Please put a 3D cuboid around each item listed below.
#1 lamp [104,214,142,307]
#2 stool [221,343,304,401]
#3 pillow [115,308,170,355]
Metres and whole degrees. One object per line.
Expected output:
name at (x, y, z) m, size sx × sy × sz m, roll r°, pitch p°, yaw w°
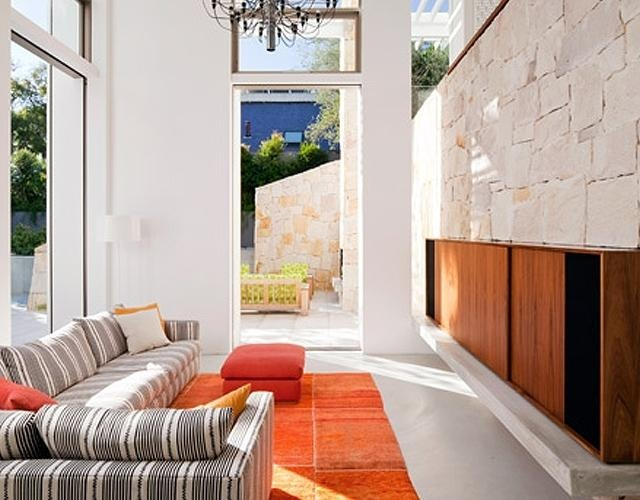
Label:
lamp at (-2.415, 0.152, 6.454) m, size 0.452 × 1.195 × 0.616 m, roll -2°, pitch 7°, yaw -21°
stool at (-0.536, 1.130, 5.071) m, size 0.464 × 0.331 × 0.647 m, roll 0°, pitch -1°, yaw 0°
pillow at (-1.801, 0.751, 5.222) m, size 0.132 × 0.446 × 0.445 m, roll -33°, pitch -14°, yaw 28°
